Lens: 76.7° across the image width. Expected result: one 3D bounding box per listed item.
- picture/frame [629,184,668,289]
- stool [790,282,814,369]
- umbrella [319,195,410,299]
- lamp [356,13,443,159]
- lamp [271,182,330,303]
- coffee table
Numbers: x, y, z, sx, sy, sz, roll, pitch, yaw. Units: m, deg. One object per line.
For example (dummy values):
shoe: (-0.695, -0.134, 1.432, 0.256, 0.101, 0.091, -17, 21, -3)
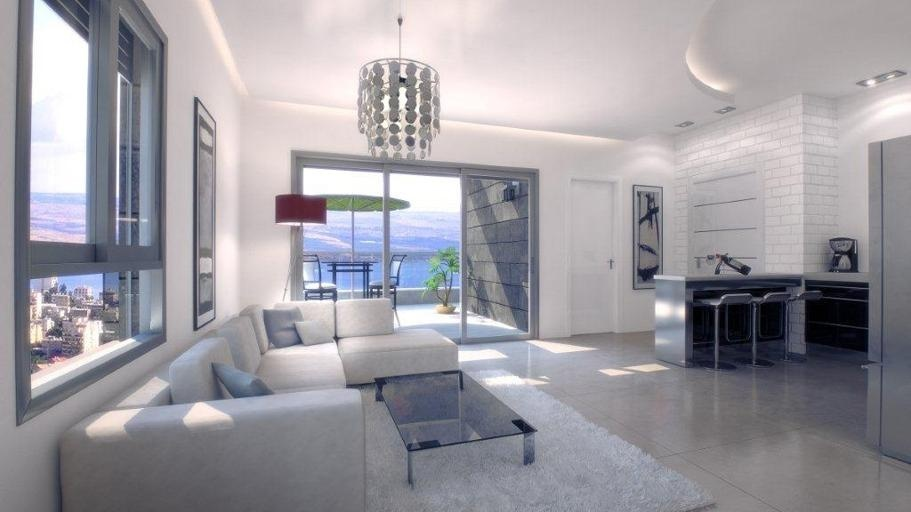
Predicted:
picture/frame: (3.127, -0.313, 9.293, 0.601, 1.139, 0.093, -1, 0, -24)
stool: (4.646, 0.858, 7.703, 0.390, 0.973, 0.468, -1, 0, 30)
umbrella: (-1.452, -0.143, 8.288, 1.312, 1.418, 1.474, -1, -1, 31)
lamp: (-0.631, -1.725, 6.438, 0.844, 1.293, 1.644, -1, 0, -5)
lamp: (-1.991, -0.109, 7.325, 0.563, 1.239, 0.732, -2, 0, -22)
coffee table: (-0.113, 1.530, 5.583, 1.148, 0.280, 1.615, -6, 13, -26)
